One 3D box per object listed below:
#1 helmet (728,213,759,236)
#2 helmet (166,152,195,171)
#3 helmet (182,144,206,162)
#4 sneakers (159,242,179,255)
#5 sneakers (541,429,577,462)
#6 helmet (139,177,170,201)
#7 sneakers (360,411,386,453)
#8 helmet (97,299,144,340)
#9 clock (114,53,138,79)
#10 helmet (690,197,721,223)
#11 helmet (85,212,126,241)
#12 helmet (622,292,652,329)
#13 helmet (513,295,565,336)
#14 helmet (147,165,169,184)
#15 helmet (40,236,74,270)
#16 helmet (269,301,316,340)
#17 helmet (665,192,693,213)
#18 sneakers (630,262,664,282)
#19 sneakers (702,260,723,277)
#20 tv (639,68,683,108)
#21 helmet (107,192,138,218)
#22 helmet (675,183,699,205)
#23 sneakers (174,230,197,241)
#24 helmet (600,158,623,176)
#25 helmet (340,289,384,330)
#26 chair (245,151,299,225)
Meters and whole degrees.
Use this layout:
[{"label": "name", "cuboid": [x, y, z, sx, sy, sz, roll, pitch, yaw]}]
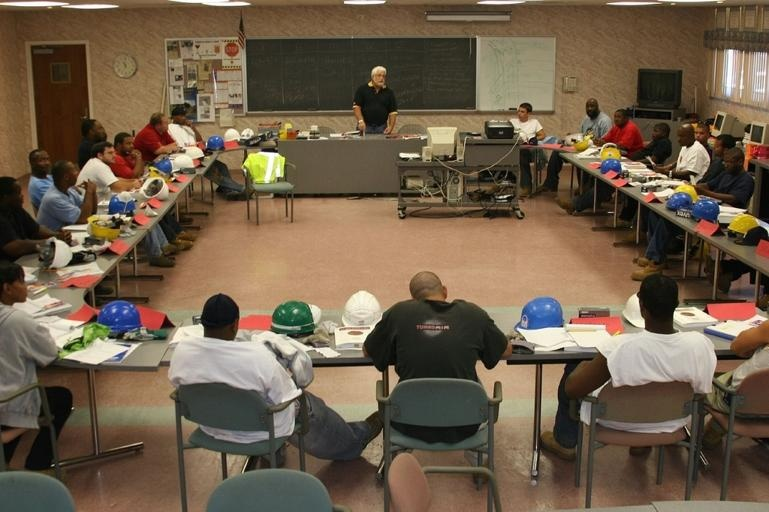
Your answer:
[{"label": "helmet", "cuboid": [3.351, -0.300, 6.238, 0.267, 0.136, 0.172, -11, 16, -17]}, {"label": "helmet", "cuboid": [-2.715, -1.279, 9.198, 0.275, 0.119, 0.343, 2, 15, 3]}, {"label": "helmet", "cuboid": [-2.777, -1.509, 9.846, 0.317, 0.137, 0.235, 9, 21, 39]}, {"label": "sneakers", "cuboid": [-2.630, -0.077, 8.324, 0.214, 0.085, 0.194, -6, -9, -26]}, {"label": "sneakers", "cuboid": [1.162, 1.290, 4.539, 0.124, 0.104, 0.258, -13, 28, -33]}, {"label": "helmet", "cuboid": [-2.625, -0.794, 7.798, 0.265, 0.128, 0.304, 16, 35, 20]}, {"label": "sneakers", "cuboid": [-0.082, 1.192, 4.556, 0.067, 0.213, 0.078, 25, -28, -18]}, {"label": "helmet", "cuboid": [-1.827, 0.409, 4.598, 0.317, 0.198, 0.317, 6, -1, -33]}, {"label": "clock", "cuboid": [-4.907, -3.608, 12.748, 0.444, 0.400, 0.096, 2, 5, 0]}, {"label": "helmet", "cuboid": [3.179, -0.463, 6.660, 0.234, 0.198, 0.264, 3, 18, 10]}, {"label": "helmet", "cuboid": [-2.614, -0.282, 6.370, 0.260, 0.124, 0.291, 0, 10, -11]}, {"label": "helmet", "cuboid": [1.701, 0.359, 4.595, 0.197, 0.141, 0.265, -3, 23, -1]}, {"label": "helmet", "cuboid": [1.082, 0.389, 4.633, 0.385, 0.178, 0.273, -6, 14, 21]}, {"label": "helmet", "cuboid": [-2.778, -1.007, 8.357, 0.258, 0.273, 0.317, 9, 13, -25]}, {"label": "helmet", "cuboid": [-2.705, -0.022, 5.599, 0.210, 0.255, 0.224, 1, -5, -32]}, {"label": "helmet", "cuboid": [-0.592, 0.394, 4.557, 0.270, 0.174, 0.374, 9, 17, 24]}, {"label": "helmet", "cuboid": [3.094, -0.555, 7.038, 0.257, 0.128, 0.174, -5, 12, -28]}, {"label": "sneakers", "cuboid": [2.600, 0.158, 6.635, 0.441, 0.172, 0.141, -5, 20, -23]}, {"label": "sneakers", "cuboid": [3.549, 0.137, 7.346, 0.210, 0.182, 0.150, 9, -7, -23]}, {"label": "tv", "cuboid": [5.259, -3.163, 12.597, 0.507, 0.724, 0.870, -18, 25, -30]}, {"label": "helmet", "cuboid": [-2.710, -0.545, 6.984, 0.305, 0.275, 0.259, -10, 38, -24]}, {"label": "helmet", "cuboid": [3.310, -0.673, 7.289, 0.251, 0.219, 0.302, 1, 5, 12]}, {"label": "sneakers", "cuboid": [-2.559, -0.250, 8.757, 0.220, 0.079, 0.097, 0, 16, -12]}, {"label": "helmet", "cuboid": [2.957, -1.155, 8.746, 0.247, 0.137, 0.233, -1, 10, -6]}, {"label": "helmet", "cuboid": [-0.141, 0.356, 4.703, 0.309, 0.194, 0.358, 0, 16, -2]}, {"label": "chair", "cuboid": [-1.621, -0.987, 9.529, 0.755, 0.857, 0.694, -9, 19, -31]}]
